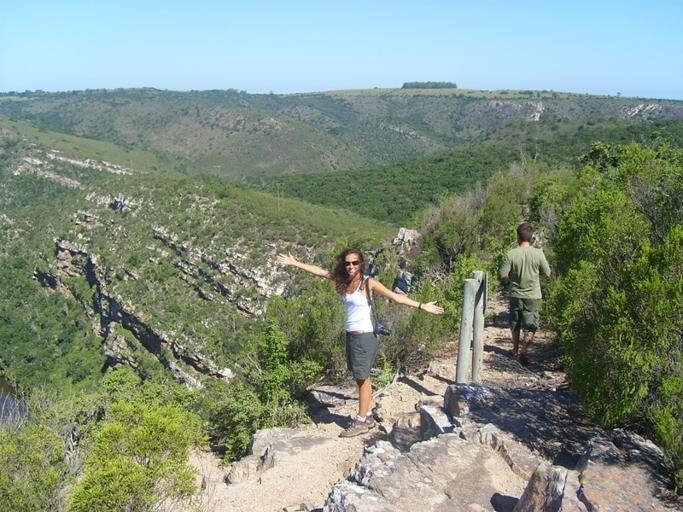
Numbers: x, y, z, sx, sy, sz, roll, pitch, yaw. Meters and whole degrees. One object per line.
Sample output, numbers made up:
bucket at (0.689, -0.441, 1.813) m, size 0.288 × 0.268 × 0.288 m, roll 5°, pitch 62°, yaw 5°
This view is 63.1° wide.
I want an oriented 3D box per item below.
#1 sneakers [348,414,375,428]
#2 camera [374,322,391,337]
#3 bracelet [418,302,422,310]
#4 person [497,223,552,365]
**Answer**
sneakers at (0.219, 2.150, 7.199) m, size 0.407 × 0.235 × 0.158 m, roll 3°, pitch 6°, yaw -3°
camera at (0.465, 0.905, 6.925) m, size 0.103 × 0.160 × 0.262 m, roll -5°, pitch 13°, yaw -42°
bracelet at (0.943, 0.598, 6.755) m, size 0.033 × 0.055 × 0.056 m, roll -1°, pitch -7°, yaw 1°
person at (2.623, 0.559, 8.071) m, size 0.669 × 2.021 × 0.474 m, roll 4°, pitch 18°, yaw 18°
